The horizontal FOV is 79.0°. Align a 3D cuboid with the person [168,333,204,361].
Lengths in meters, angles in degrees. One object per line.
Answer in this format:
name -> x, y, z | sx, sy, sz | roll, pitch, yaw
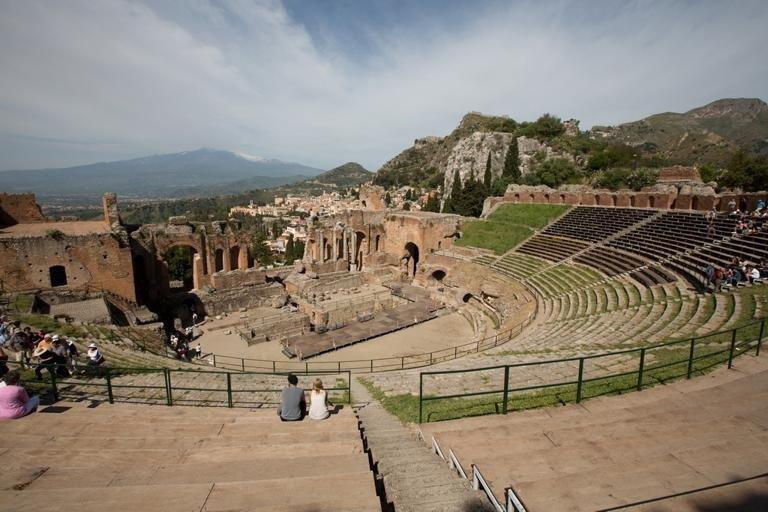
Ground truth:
person -> -10.018, 4.662, 23.489 | 1.054, 1.050, 2.165 | -7, 8, -34
